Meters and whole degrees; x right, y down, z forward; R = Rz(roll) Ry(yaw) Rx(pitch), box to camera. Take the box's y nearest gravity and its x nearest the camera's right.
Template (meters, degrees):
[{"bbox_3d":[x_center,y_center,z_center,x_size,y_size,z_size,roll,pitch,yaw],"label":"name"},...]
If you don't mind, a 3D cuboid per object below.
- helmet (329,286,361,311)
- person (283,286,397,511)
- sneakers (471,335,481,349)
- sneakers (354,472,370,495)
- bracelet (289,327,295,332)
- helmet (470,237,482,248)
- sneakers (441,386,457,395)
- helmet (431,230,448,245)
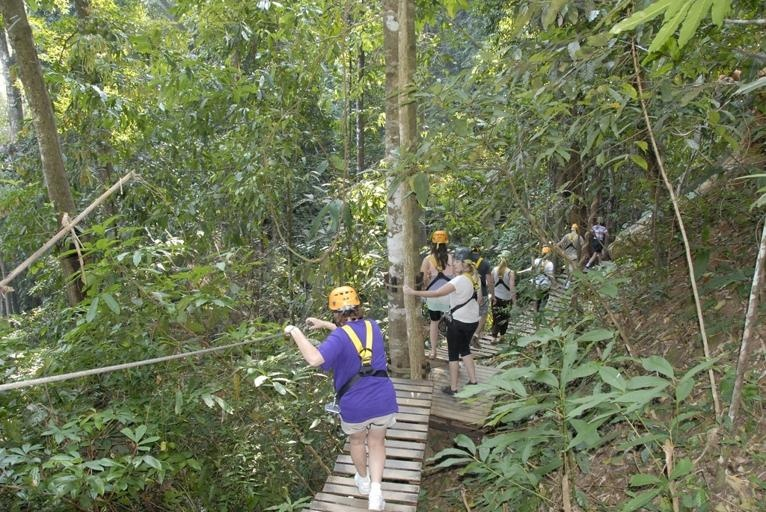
[{"bbox_3d":[-0.416,0.445,6.456,0.293,0.264,0.226,3,-2,-5],"label":"helmet"},{"bbox_3d":[-0.304,1.510,6.477,0.863,2.327,0.650,-6,11,-1],"label":"person"},{"bbox_3d":[1.547,1.449,10.339,0.215,0.166,0.296,1,5,-12],"label":"sneakers"},{"bbox_3d":[-0.220,2.452,6.533,0.105,0.115,0.252,0,34,-17],"label":"sneakers"},{"bbox_3d":[-0.907,0.732,6.161,0.055,0.044,0.055,5,-19,-26],"label":"bracelet"},{"bbox_3d":[1.331,-0.200,8.773,0.116,0.156,0.146,-2,5,-7],"label":"helmet"},{"bbox_3d":[0.876,1.809,8.218,0.094,0.095,0.195,3,-3,-23],"label":"sneakers"},{"bbox_3d":[0.776,-0.261,8.243,0.153,0.213,0.210,2,6,4],"label":"helmet"}]
